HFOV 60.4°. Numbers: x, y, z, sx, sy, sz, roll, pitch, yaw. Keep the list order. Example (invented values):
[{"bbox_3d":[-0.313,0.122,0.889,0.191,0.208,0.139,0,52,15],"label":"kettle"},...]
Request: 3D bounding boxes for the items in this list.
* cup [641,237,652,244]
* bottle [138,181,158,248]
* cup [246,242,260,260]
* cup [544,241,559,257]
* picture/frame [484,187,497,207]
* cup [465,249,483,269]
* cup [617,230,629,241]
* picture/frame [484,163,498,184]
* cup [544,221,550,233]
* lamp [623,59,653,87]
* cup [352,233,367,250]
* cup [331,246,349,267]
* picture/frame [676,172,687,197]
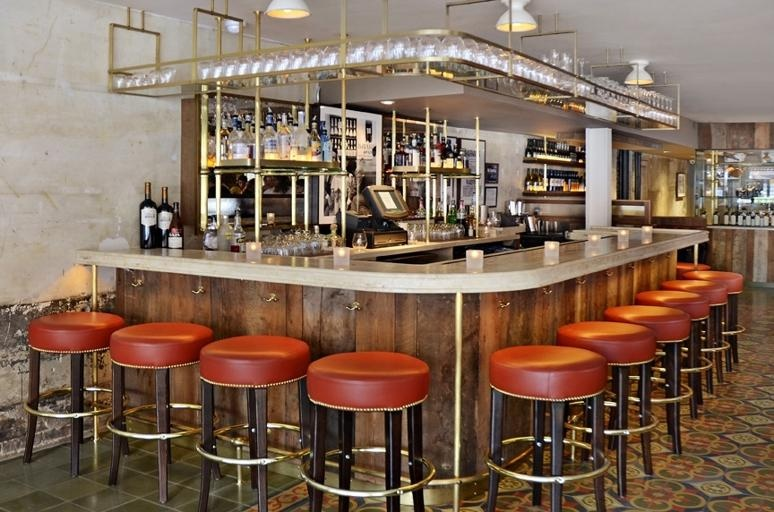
[{"bbox_3d":[2.547,-0.164,6.566,0.073,0.089,0.143,5,8,36],"label":"cup"},{"bbox_3d":[-2.022,-0.353,5.631,0.147,0.540,0.313,-3,8,-21],"label":"bottle"},{"bbox_3d":[-0.996,-0.042,4.938,0.098,0.119,0.172,-2,8,-15],"label":"cup"},{"bbox_3d":[1.228,-0.063,5.031,0.120,0.110,0.118,1,5,0],"label":"cup"},{"bbox_3d":[1.615,-0.959,10.589,0.040,0.422,0.470,3,5,33],"label":"picture/frame"},{"bbox_3d":[0.602,0.013,4.508,0.124,0.126,0.120,0,4,0],"label":"cup"},{"bbox_3d":[2.230,-0.205,6.357,0.111,0.101,0.109,-1,4,0],"label":"cup"},{"bbox_3d":[1.656,-1.330,10.626,0.075,0.326,0.474,4,8,28],"label":"picture/frame"},{"bbox_3d":[2.611,-0.506,10.937,0.097,0.143,0.275,2,8,14],"label":"cup"},{"bbox_3d":[2.783,-2.010,7.347,0.312,0.243,0.297,-1,5,0],"label":"lamp"},{"bbox_3d":[-0.256,-0.147,6.187,0.097,0.161,0.208,2,8,16],"label":"cup"},{"bbox_3d":[-0.353,0.001,4.755,0.130,0.131,0.125,2,4,0],"label":"cup"},{"bbox_3d":[6.841,-1.689,15.600,0.076,0.716,0.635,0,2,34],"label":"picture/frame"}]
